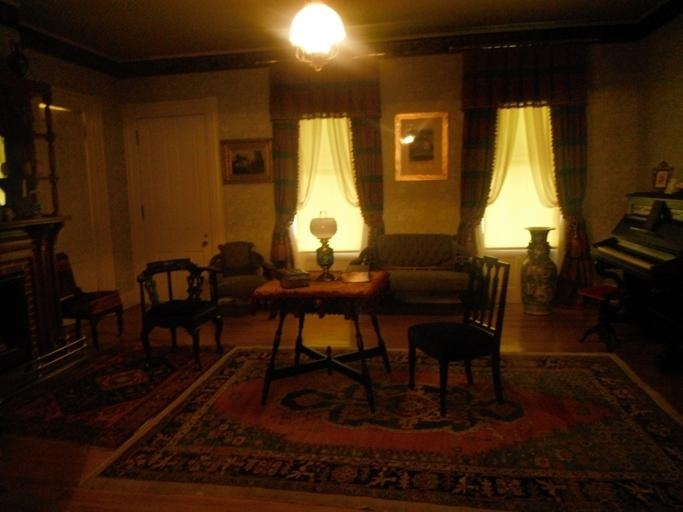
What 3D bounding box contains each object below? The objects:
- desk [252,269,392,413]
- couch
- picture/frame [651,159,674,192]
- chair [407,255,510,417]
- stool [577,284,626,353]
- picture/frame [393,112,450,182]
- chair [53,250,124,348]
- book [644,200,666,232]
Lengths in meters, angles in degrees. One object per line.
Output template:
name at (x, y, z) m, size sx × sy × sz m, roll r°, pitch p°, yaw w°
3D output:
desk at (-0.137, 0.832, 5.387) m, size 1.529 × 1.065 × 1.447 m, roll 0°, pitch 4°, yaw -8°
couch at (1.069, 0.147, 7.431) m, size 1.810 × 1.192 × 1.049 m, roll 0°, pitch 6°, yaw 8°
picture/frame at (4.028, -1.013, 6.696) m, size 0.177 × 0.375 × 0.429 m, roll 1°, pitch 11°, yaw 14°
chair at (1.063, 0.657, 4.969) m, size 0.773 × 1.237 × 0.775 m, roll -4°, pitch 7°, yaw -23°
stool at (3.087, 0.681, 6.302) m, size 0.650 × 0.923 × 0.640 m, roll 1°, pitch 2°, yaw 22°
picture/frame at (1.183, -1.622, 7.729) m, size 1.040 × 1.184 × 0.078 m, roll 0°, pitch 8°, yaw 6°
chair at (-3.055, 0.520, 6.532) m, size 0.646 × 1.115 × 0.752 m, roll -7°, pitch 12°, yaw -26°
book at (3.485, -0.442, 5.946) m, size 0.123 × 0.144 × 0.541 m, roll 26°, pitch 58°, yaw 17°
